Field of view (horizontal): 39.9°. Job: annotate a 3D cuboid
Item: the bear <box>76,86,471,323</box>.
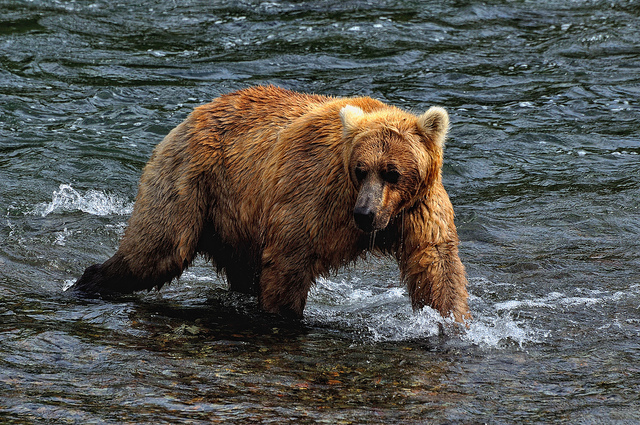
[{"bbox_3d":[-0.329,-0.010,10.126,4.020,2.511,1.986,6,38,14],"label":"bear"}]
